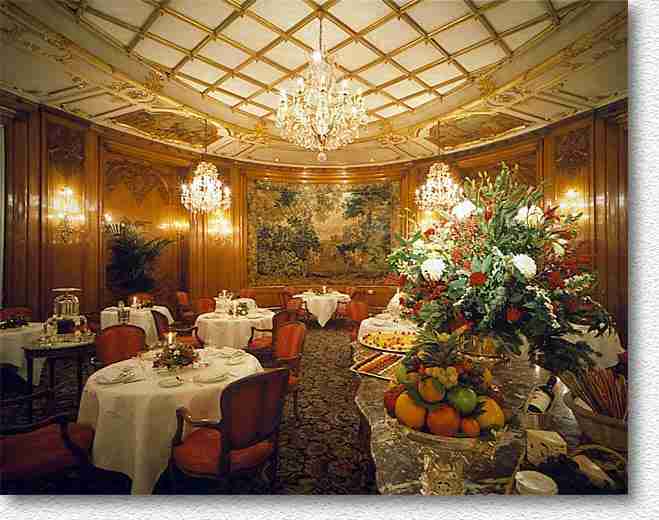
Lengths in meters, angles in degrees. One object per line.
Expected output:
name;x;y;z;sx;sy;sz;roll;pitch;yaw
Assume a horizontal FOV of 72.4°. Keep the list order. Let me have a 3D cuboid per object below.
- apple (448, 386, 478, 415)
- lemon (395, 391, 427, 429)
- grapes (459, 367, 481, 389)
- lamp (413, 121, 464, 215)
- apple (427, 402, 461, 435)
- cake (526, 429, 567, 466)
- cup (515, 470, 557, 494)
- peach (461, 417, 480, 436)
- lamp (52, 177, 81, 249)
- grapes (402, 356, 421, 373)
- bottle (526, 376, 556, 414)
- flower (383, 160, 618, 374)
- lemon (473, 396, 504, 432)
apple;0.623;0.669;2.189;0.146;0.119;0.123;6;-4;5
lemon;0.389;0.713;2.207;0.163;0.172;0.159;3;17;15
grapes;0.680;0.580;2.191;0.110;0.090;0.049;-4;2;-28
lamp;2.015;-1.760;8.261;0.957;1.586;0.889;-10;21;-12
apple;0.533;0.756;2.113;0.148;0.148;0.141;-7;11;-18
cake;1.060;0.915;2.266;0.189;0.155;0.183;8;-10;-40
cup;0.973;1.056;2.132;0.126;0.045;0.110;0;-2;0
peach;0.656;0.786;2.153;0.083;0.077;0.087;14;-4;-42
lamp;-4.256;-0.731;7.264;0.131;0.863;0.521;-3;2;13
grapes;0.408;0.526;2.247;0.088;0.051;0.081;-5;7;7
bottle;1.158;0.751;2.470;0.262;0.076;0.077;-26;-16;-51
flower;0.958;0.020;2.899;1.135;1.155;1.350;-3;2;-45
lemon;0.740;0.721;2.109;0.116;0.101;0.145;1;-16;13
